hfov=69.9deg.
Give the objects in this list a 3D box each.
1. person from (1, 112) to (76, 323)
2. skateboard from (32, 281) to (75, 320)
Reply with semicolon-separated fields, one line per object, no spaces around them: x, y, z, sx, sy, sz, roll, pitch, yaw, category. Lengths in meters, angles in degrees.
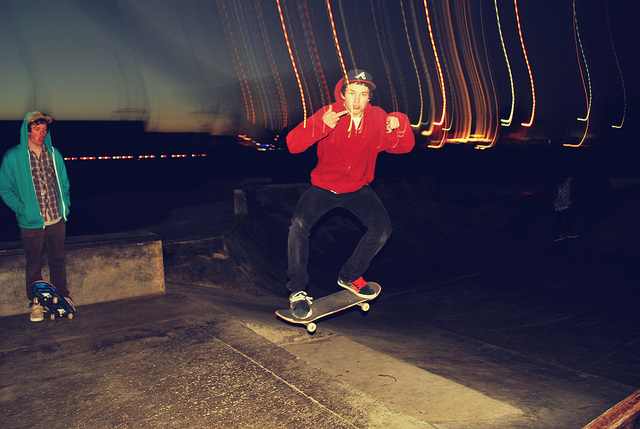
-4.482;0.044;7.321;0.926;3.269;0.983;-2;12;-33;person
-4.173;1.423;7.362;0.371;0.813;0.157;-16;41;14;skateboard
